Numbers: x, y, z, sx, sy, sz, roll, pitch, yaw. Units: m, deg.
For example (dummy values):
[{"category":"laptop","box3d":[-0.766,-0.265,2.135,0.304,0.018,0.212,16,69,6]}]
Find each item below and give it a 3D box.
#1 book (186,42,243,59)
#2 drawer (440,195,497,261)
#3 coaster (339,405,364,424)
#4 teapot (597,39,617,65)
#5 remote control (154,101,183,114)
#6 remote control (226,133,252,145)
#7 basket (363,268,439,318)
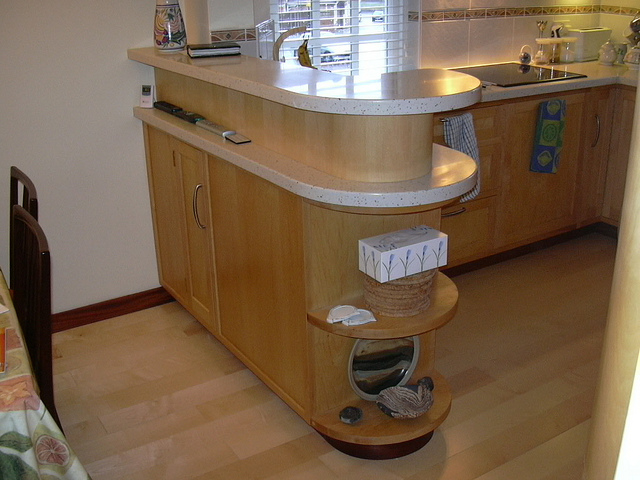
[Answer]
[{"category":"book","box3d":[-0.559,-0.985,2.647,0.265,0.058,0.156,-10,30,-13]},{"category":"drawer","box3d":[0.904,-0.128,3.357,0.455,0.444,0.309,-10,18,-20]},{"category":"coaster","box3d":[0.128,0.697,2.058,0.096,0.042,0.110,5,31,13]},{"category":"teapot","box3d":[2.224,-1.436,3.919,0.140,0.144,0.219,13,33,25]},{"category":"remote control","box3d":[-0.840,-0.724,2.785,0.169,0.038,0.088,24,34,35]},{"category":"remote control","box3d":[-0.363,-0.447,2.250,0.075,0.017,0.125,-22,35,-30]},{"category":"basket","box3d":[0.298,0.212,1.980,0.262,0.161,0.263,2,-6,-37]}]
